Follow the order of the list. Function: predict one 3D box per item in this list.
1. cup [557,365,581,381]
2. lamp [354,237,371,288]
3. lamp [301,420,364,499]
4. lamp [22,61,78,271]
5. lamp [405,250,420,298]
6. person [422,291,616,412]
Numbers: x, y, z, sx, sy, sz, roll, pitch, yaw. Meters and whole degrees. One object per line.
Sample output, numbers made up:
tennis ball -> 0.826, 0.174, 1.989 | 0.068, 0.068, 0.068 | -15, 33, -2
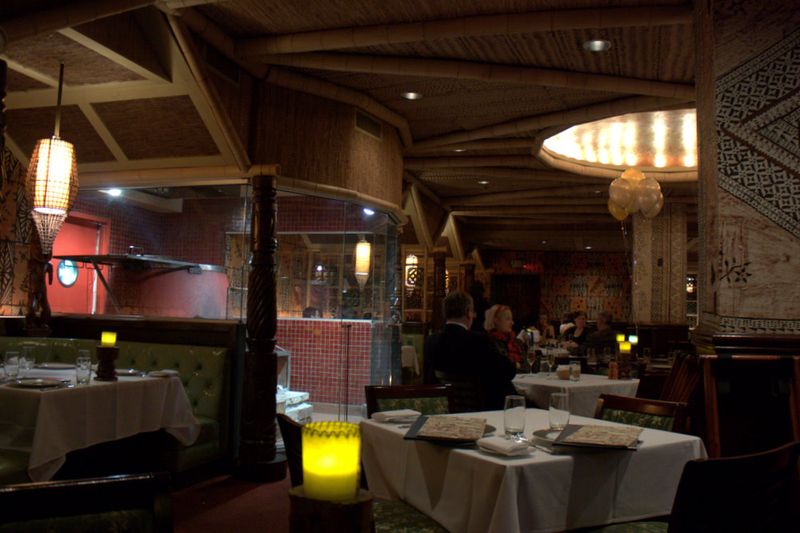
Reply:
cup -> 1.693, 1.055, 6.990 | 0.182, 0.105, 0.155 | 1, -3, -15
lamp -> -0.467, -0.052, 8.845 | 0.217, 0.614, 0.131 | 2, -4, -6
lamp -> -0.317, 0.891, 3.269 | 0.284, 0.309, 0.282 | 1, -1, -17
lamp -> -3.119, -0.833, 6.282 | 0.410, 1.490, 0.343 | 3, -4, -29
lamp -> 0.270, 0.194, 16.096 | 0.348, 0.972, 0.325 | 1, -4, 1
person -> 0.958, 0.834, 6.523 | 1.142, 1.568, 0.910 | -3, -4, 32
